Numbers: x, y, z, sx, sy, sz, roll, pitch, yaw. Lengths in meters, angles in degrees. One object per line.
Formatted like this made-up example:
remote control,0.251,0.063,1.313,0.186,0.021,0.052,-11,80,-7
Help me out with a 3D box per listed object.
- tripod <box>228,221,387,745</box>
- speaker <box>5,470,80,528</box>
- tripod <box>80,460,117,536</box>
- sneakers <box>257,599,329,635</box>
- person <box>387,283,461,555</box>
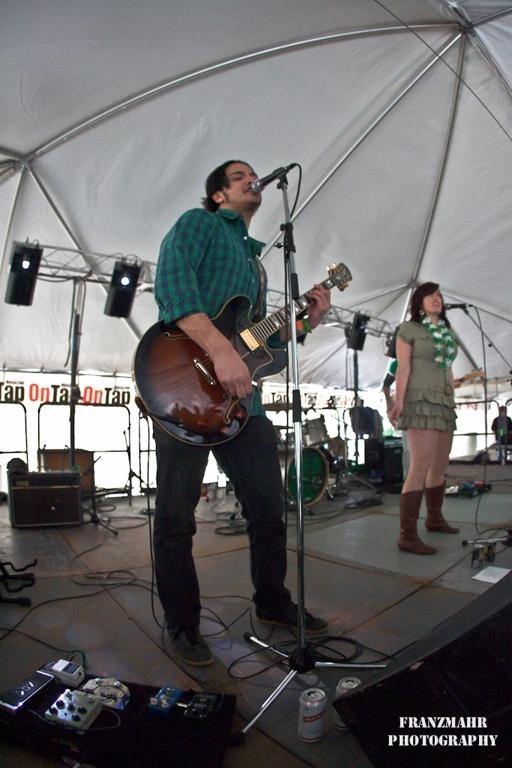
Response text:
tripod,0.167,0.170,2.055,0.447,1.523,1.111,-1,-1,1
speaker,-1.851,0.961,5.071,0.590,0.546,0.440,1,-23,-24
tripod,-1.645,1.191,6.110,0.454,0.725,0.564,4,-16,-2
sneakers,0.130,0.896,2.257,0.309,0.112,0.105,-1,-26,16
person,1.030,0.158,3.624,0.391,1.077,0.731,-2,-1,19
